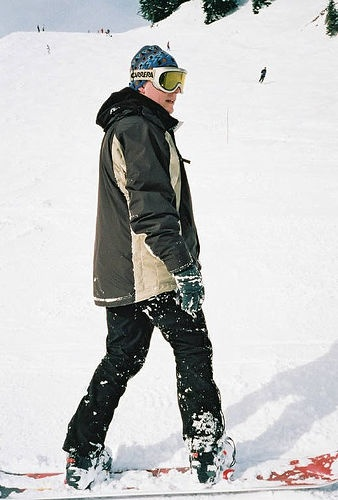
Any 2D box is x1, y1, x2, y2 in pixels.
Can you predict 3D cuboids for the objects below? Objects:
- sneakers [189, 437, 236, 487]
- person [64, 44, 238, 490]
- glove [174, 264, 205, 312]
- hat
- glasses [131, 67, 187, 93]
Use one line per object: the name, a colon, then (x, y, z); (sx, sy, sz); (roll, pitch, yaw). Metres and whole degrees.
sneakers: (0.292, 1.084, 2.850); (0.183, 0.208, 0.256); (-5, -20, 43)
person: (-0.232, 0.120, 2.932); (0.909, 2.206, 0.938); (-7, 21, 4)
glove: (0.099, 0.186, 2.726); (0.162, 0.220, 0.076); (-10, 20, -6)
hat: (-0.115, -0.952, 2.973); (0.278, 0.217, 0.204); (-16, 23, -5)
glasses: (-0.044, -0.858, 2.897); (0.210, 0.076, 0.151); (1, 14, 14)
